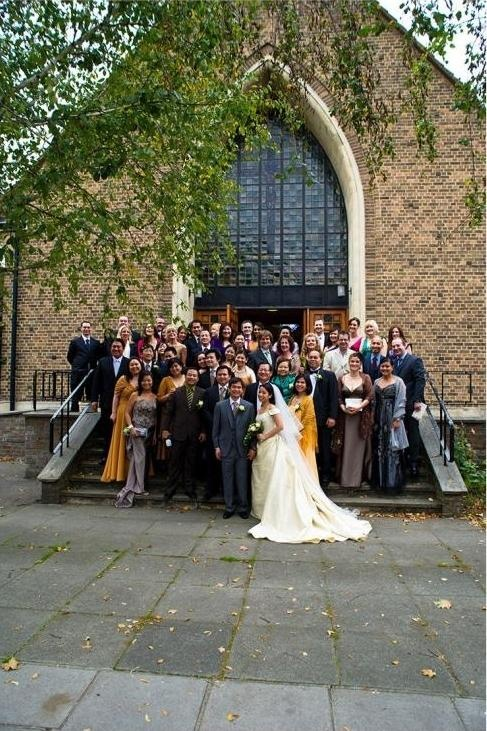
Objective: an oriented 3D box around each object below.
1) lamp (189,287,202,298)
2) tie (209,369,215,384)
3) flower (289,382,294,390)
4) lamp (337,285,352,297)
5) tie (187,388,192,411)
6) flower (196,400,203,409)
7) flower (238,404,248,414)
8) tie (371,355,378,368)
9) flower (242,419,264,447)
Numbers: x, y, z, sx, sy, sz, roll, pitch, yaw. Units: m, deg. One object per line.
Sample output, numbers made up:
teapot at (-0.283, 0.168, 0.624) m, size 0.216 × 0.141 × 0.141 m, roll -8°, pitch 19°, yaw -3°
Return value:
lamp at (-1.262, -1.975, 14.705) m, size 0.261 × 0.251 × 0.656 m, roll 0°, pitch -3°, yaw 7°
tie at (-0.463, 0.158, 8.208) m, size 0.093 × 0.181 × 0.043 m, roll -5°, pitch -12°, yaw 27°
flower at (0.677, 0.290, 7.704) m, size 0.062 × 0.064 × 0.062 m, roll -1°, pitch -9°, yaw 13°
lamp at (2.601, -1.934, 14.269) m, size 0.339 × 0.296 × 0.154 m, roll -1°, pitch -3°, yaw 34°
tie at (-0.765, 0.458, 7.833) m, size 0.053 × 0.253 × 0.171 m, roll 6°, pitch 7°, yaw -8°
flower at (-0.624, 0.552, 7.767) m, size 0.068 × 0.107 × 0.036 m, roll -2°, pitch -13°, yaw 2°
flower at (-0.012, 0.576, 7.186) m, size 0.089 × 0.118 × 0.045 m, roll -2°, pitch 3°, yaw -2°
tie at (2.015, -0.052, 8.422) m, size 0.107 × 0.140 × 0.033 m, roll -3°, pitch -39°, yaw 13°
flower at (0.120, 0.869, 7.041) m, size 0.170 × 0.316 × 0.296 m, roll 27°, pitch -19°, yaw -20°
